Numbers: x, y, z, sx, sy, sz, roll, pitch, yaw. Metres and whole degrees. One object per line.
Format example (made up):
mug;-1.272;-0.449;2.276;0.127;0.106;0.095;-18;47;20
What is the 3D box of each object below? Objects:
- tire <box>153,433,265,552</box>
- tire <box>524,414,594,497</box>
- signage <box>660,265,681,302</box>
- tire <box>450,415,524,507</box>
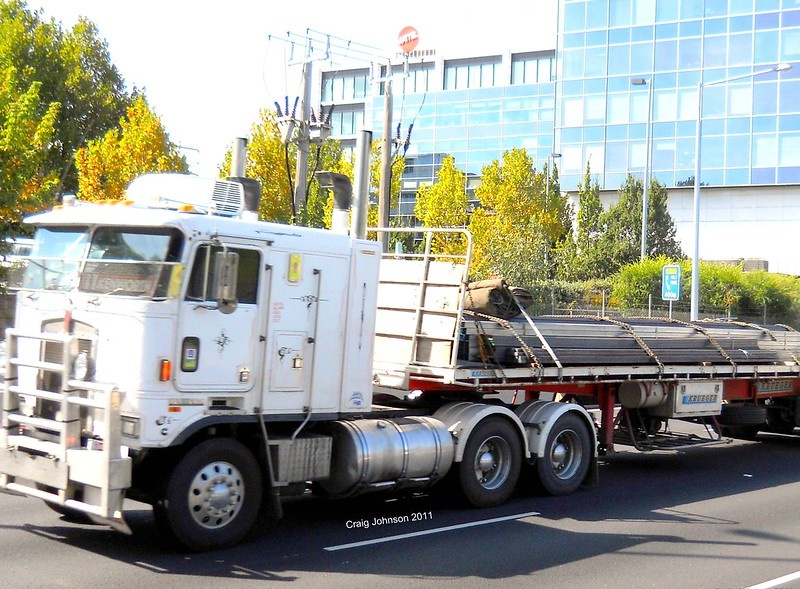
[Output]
tire;-2.328;2.354;9.145;1.299;1.389;0.554;10;-4;-35
tire;2.582;2.575;12.529;1.319;1.361;0.413;1;0;-34
signage;9.295;-0.362;26.507;0.634;1.144;0.124;0;2;-11
tire;1.240;2.499;11.624;1.291;1.330;0.412;5;0;-37
